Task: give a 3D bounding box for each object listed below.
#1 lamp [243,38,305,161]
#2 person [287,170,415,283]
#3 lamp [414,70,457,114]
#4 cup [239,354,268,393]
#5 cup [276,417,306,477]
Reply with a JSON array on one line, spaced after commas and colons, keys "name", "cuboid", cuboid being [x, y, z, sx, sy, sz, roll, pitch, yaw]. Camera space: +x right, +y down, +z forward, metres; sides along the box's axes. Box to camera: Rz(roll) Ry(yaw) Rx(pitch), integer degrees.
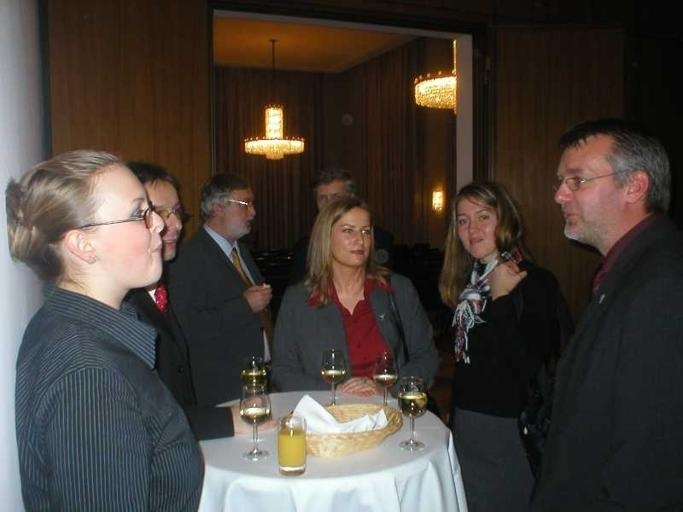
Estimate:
[{"name": "lamp", "cuboid": [-1.386, -2.864, 11.848, 1.278, 1.992, 2.604, -5, 8, -3]}, {"name": "person", "cuboid": [-0.030, -0.122, 4.486, 0.692, 1.028, 0.522, -3, 11, 7]}, {"name": "lamp", "cuboid": [1.362, -2.344, 8.736, 0.337, 0.471, 0.758, -10, 10, -30]}, {"name": "cup", "cuboid": [-0.360, 0.522, 2.699, 0.130, 0.162, 0.148, 1, -9, -2]}, {"name": "cup", "cuboid": [-0.174, 0.658, 2.151, 0.104, 0.196, 0.076, -6, 9, -10]}]
